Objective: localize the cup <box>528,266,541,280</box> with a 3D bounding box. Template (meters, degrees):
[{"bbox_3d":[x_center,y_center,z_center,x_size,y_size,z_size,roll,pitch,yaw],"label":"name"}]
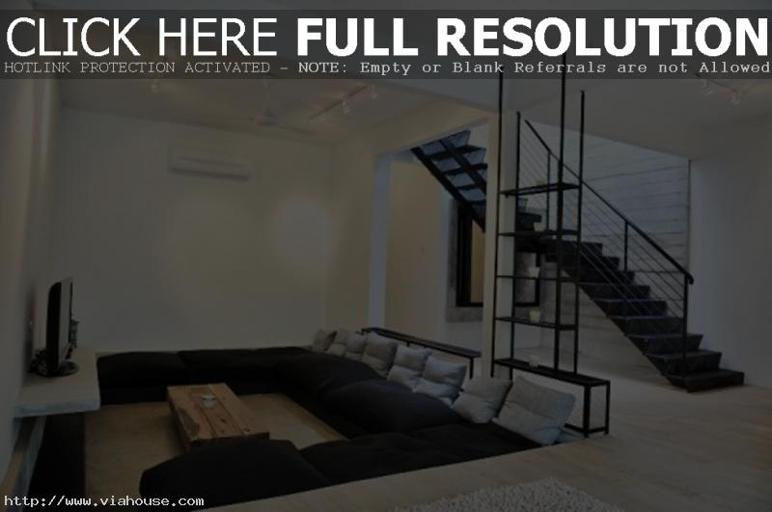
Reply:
[{"bbox_3d":[1.607,0.187,6.005,0.139,0.121,0.139,-2,2,0],"label":"cup"}]

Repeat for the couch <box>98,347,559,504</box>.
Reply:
[{"bbox_3d":[-0.994,1.477,5.421,4.160,0.818,3.017,-3,-4,44],"label":"couch"}]

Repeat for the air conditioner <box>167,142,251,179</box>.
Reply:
[{"bbox_3d":[-2.253,-1.215,7.158,1.058,0.451,0.125,3,-4,-41],"label":"air conditioner"}]
